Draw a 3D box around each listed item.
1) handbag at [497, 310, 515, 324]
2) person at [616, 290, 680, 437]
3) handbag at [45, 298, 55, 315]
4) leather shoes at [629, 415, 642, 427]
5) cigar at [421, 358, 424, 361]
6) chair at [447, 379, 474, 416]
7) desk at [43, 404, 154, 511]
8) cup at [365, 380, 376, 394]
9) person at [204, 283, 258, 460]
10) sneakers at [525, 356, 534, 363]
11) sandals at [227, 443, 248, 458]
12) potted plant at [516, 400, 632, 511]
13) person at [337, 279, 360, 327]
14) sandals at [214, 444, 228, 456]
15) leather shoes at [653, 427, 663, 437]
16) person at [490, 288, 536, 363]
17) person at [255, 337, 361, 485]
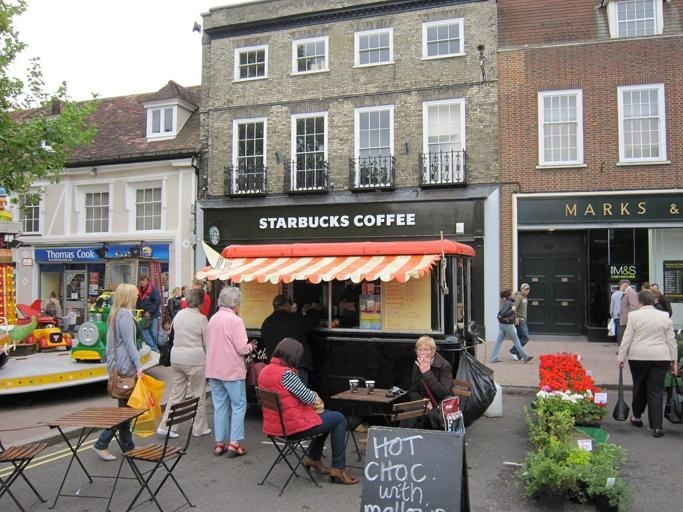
[{"bbox_3d":[4.138,1.581,17.848,0.363,0.280,0.359,6,39,11],"label":"handbag"},{"bbox_3d":[5.569,1.931,12.919,0.957,2.582,0.573,-1,-2,25],"label":"person"},{"bbox_3d":[-9.006,1.607,21.953,0.388,0.556,0.293,2,-9,-23],"label":"handbag"},{"bbox_3d":[5.482,3.096,13.240,0.097,0.116,0.281,-3,5,1],"label":"leather shoes"},{"bbox_3d":[1.305,1.689,11.544,0.042,0.042,0.012,-4,12,15],"label":"cigar"},{"bbox_3d":[2.055,2.448,12.258,0.474,0.664,0.488,-1,5,1],"label":"chair"},{"bbox_3d":[-3.883,2.968,11.368,1.065,1.492,1.951,1,2,8],"label":"desk"},{"bbox_3d":[0.470,2.194,11.828,0.202,0.215,0.210,1,-7,0],"label":"cup"},{"bbox_3d":[-1.918,1.967,12.024,0.765,2.811,0.364,0,-2,-9],"label":"person"},{"bbox_3d":[4.743,2.645,18.025,0.124,0.099,0.290,41,-37,-15],"label":"sneakers"},{"bbox_3d":[-1.770,3.281,11.922,0.168,0.158,0.320,0,-1,10],"label":"sandals"},{"bbox_3d":[3.409,3.036,10.577,1.332,0.781,1.392,-1,18,23],"label":"potted plant"},{"bbox_3d":[0.135,0.953,13.799,0.413,0.855,0.398,0,-2,-1],"label":"person"},{"bbox_3d":[-2.049,3.271,11.965,0.119,0.110,0.252,1,-2,2],"label":"sandals"},{"bbox_3d":[5.604,3.149,12.586,0.088,0.095,0.234,0,0,10],"label":"leather shoes"},{"bbox_3d":[4.378,1.805,18.434,0.952,1.864,1.412,0,-2,14],"label":"person"},{"bbox_3d":[-0.595,2.414,10.975,1.348,2.231,0.474,1,-2,-13],"label":"person"}]
